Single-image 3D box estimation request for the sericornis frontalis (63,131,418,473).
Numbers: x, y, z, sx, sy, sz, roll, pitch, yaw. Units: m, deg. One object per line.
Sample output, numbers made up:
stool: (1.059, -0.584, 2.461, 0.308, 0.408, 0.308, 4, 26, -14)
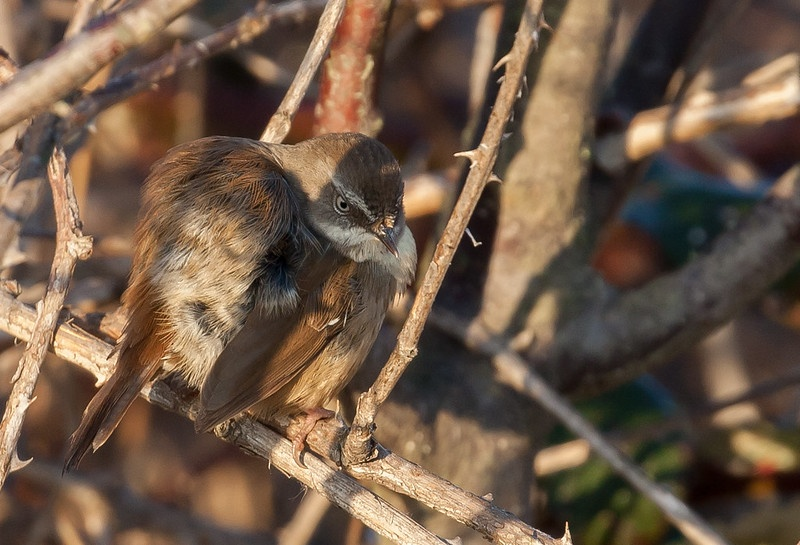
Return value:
sericornis frontalis: (-1.087, 0.138, 6.777, 1.982, 1.922, 1.315, 2, 16, -30)
